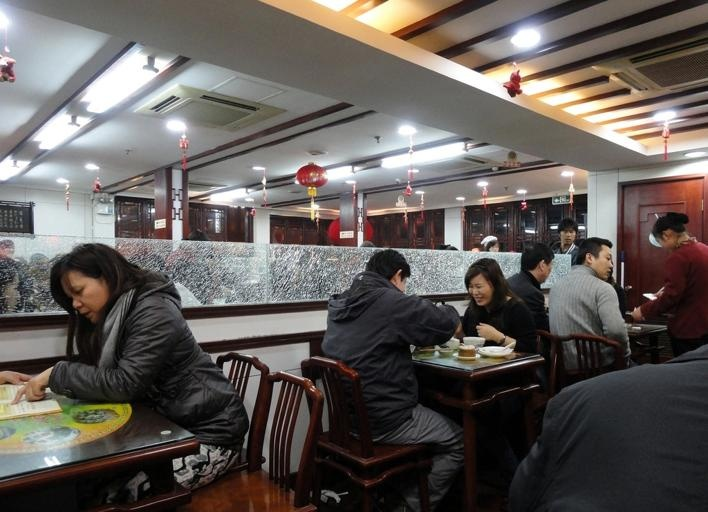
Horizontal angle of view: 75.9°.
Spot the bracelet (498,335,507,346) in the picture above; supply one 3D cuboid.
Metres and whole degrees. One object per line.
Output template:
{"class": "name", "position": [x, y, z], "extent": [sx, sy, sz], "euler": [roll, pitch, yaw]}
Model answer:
{"class": "bracelet", "position": [0.942, 0.537, 2.870], "extent": [0.021, 0.052, 0.046], "euler": [35, 34, 7]}
